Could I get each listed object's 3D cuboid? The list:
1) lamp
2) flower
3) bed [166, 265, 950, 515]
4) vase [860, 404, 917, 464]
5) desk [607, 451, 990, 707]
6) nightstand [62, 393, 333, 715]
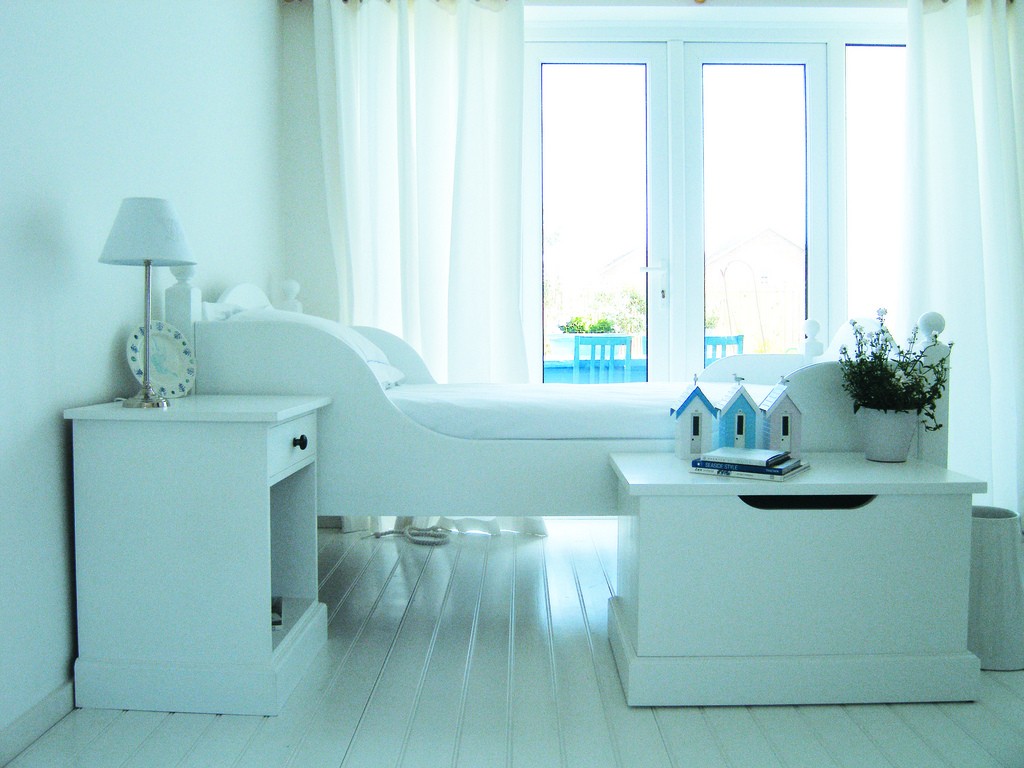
[{"bbox_3d":[-1.039,-0.223,2.526,0.277,0.581,0.277,0,4,-16],"label":"lamp"},{"bbox_3d":[1.160,-0.023,2.666,0.324,0.330,0.328,1,-9,12],"label":"flower"},{"bbox_3d":[-0.035,0.035,2.995,1.851,0.780,1.014,-1,3,-3],"label":"bed"},{"bbox_3d":[1.086,0.147,2.554,0.147,0.123,0.156,1,-4,-4],"label":"vase"},{"bbox_3d":[0.760,0.541,2.583,0.695,0.460,0.712,0,-1,2],"label":"desk"},{"bbox_3d":[-0.853,0.456,2.777,0.756,1.028,0.740,0,1,0],"label":"nightstand"}]
